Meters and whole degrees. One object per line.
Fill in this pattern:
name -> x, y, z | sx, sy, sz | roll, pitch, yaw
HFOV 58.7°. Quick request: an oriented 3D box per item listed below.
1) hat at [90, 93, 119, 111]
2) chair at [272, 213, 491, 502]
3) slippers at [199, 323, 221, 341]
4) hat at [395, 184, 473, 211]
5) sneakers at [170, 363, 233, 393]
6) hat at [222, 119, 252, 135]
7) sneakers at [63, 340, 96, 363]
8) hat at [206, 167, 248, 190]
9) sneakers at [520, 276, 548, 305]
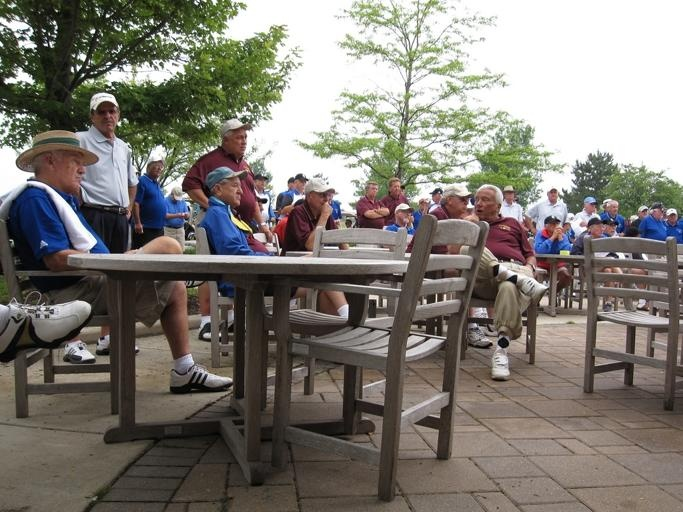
hat -> -2.338, -1.508, 5.955 | 0.226, 0.200, 0.297 | -1, 7, -24
chair -> 0.276, 0.487, 4.167 | 1.504, 1.929, 1.324 | 2, 1, 33
slippers -> -1.445, 0.787, 6.306 | 0.177, 0.190, 0.468 | 5, -11, -36
hat -> 1.264, -0.657, 6.896 | 0.358, 0.267, 0.288 | -8, -1, 26
sneakers -> -1.055, 0.928, 4.602 | 0.524, 0.218, 0.194 | -1, -1, -9
hat -> -1.117, -1.341, 6.476 | 0.260, 0.118, 0.182 | -11, 9, 10
sneakers -> -2.125, 0.793, 5.002 | 0.365, 0.154, 0.149 | 0, -3, 34
hat -> -0.998, -0.682, 5.294 | 0.287, 0.099, 0.180 | -22, 9, -5
sneakers -> 1.726, 0.292, 5.558 | 0.169, 0.125, 0.358 | -16, 32, -24
